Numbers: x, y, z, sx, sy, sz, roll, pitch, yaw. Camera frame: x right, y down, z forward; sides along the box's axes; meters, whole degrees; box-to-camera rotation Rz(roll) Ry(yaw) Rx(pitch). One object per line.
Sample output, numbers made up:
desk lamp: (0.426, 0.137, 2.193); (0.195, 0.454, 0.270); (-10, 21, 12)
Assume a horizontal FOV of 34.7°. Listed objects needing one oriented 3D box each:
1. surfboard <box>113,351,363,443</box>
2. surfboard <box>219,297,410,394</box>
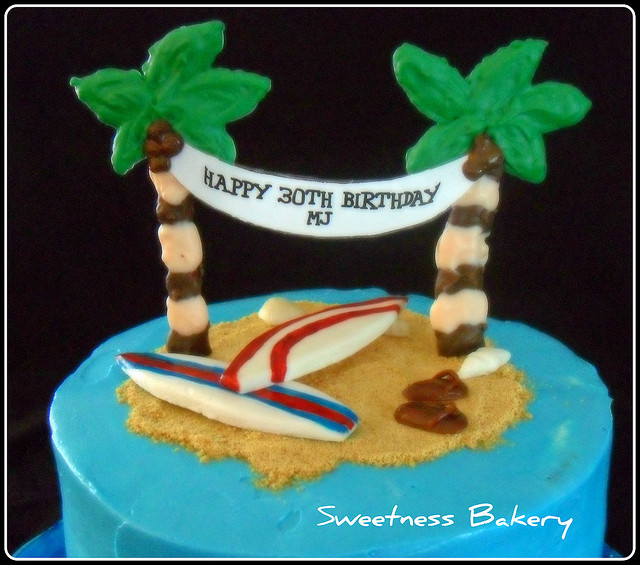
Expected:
surfboard: (-0.375, 0.451, 3.975); (1.071, 0.115, 0.322); (16, 36, 15)
surfboard: (0.023, 0.228, 4.148); (0.873, 0.084, 0.268); (-18, 36, -32)
